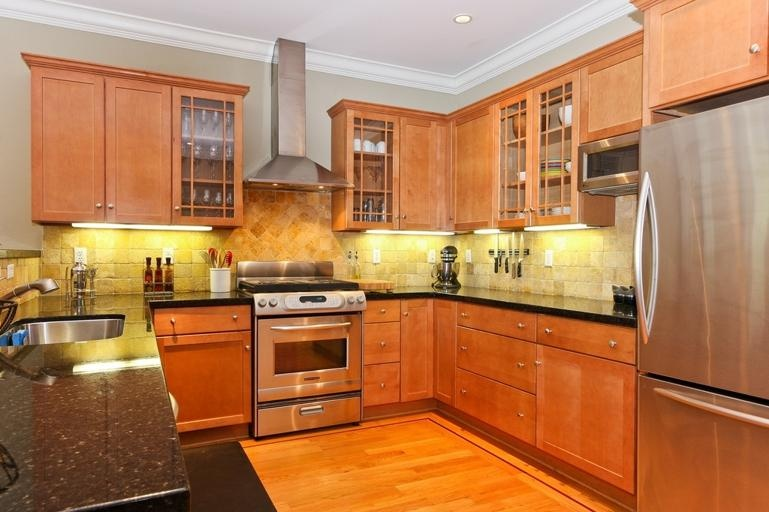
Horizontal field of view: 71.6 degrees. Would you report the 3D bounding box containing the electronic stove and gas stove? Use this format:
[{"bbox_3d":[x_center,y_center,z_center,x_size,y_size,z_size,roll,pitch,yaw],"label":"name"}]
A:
[{"bbox_3d":[-0.600,0.321,4.164,0.887,0.248,0.276,-3,11,-23],"label":"electronic stove and gas stove"}]

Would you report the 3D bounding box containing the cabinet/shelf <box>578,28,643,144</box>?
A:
[{"bbox_3d":[1.650,-1.073,3.572,0.375,0.622,0.603,2,4,-15],"label":"cabinet/shelf"}]

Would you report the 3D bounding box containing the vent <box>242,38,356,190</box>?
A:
[{"bbox_3d":[-0.738,-1.146,4.565,1.037,1.295,0.811,-1,32,-33],"label":"vent"}]

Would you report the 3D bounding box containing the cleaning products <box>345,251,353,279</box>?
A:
[{"bbox_3d":[-0.319,0.067,4.917,0.066,0.233,0.055,-2,11,-13],"label":"cleaning products"}]

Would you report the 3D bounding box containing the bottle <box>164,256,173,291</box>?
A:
[{"bbox_3d":[-1.731,0.143,4.270,0.072,0.272,0.157,-4,12,-22],"label":"bottle"}]

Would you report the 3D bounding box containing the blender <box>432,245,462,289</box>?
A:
[{"bbox_3d":[0.571,0.100,4.922,0.259,0.398,0.673,2,10,7],"label":"blender"}]

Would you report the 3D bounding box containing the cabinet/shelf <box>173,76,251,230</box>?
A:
[{"bbox_3d":[-1.372,-0.770,4.129,0.545,1.055,0.236,-2,11,-15],"label":"cabinet/shelf"}]

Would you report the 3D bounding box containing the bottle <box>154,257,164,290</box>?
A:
[{"bbox_3d":[-1.801,0.136,4.248,0.063,0.249,0.174,-4,11,-22],"label":"bottle"}]

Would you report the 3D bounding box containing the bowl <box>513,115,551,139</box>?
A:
[{"bbox_3d":[1.159,-0.999,4.170,0.182,0.118,0.193,0,-4,0],"label":"bowl"}]

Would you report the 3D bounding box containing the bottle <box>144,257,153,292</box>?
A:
[{"bbox_3d":[-1.868,0.140,4.214,0.078,0.260,0.153,-4,12,-24],"label":"bottle"}]

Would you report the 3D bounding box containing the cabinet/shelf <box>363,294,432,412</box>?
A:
[{"bbox_3d":[0.117,0.775,4.389,0.651,0.828,0.166,-4,12,-24],"label":"cabinet/shelf"}]

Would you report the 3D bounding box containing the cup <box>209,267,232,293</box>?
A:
[{"bbox_3d":[-1.285,0.199,4.239,0.206,0.189,0.189,0,-3,0],"label":"cup"}]

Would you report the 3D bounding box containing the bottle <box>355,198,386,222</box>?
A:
[{"bbox_3d":[-0.126,-0.409,4.668,0.299,0.211,0.086,-7,13,-36],"label":"bottle"}]

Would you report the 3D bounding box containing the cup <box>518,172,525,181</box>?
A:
[{"bbox_3d":[1.079,-0.627,4.181,0.062,0.046,0.065,0,4,0],"label":"cup"}]

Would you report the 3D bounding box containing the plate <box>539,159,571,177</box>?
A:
[{"bbox_3d":[1.274,-0.645,3.889,0.025,0.133,0.230,-7,13,-36],"label":"plate"}]

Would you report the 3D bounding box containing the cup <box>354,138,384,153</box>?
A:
[{"bbox_3d":[-0.138,-0.972,4.674,0.264,0.094,0.103,1,0,-19],"label":"cup"}]

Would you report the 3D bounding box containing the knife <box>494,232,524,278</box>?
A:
[{"bbox_3d":[1.090,-0.019,4.680,0.131,0.408,0.383,-5,12,-26],"label":"knife"}]

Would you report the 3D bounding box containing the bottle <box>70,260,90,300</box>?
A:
[{"bbox_3d":[-2.268,0.183,3.963,0.134,0.247,0.353,-6,12,-30],"label":"bottle"}]
